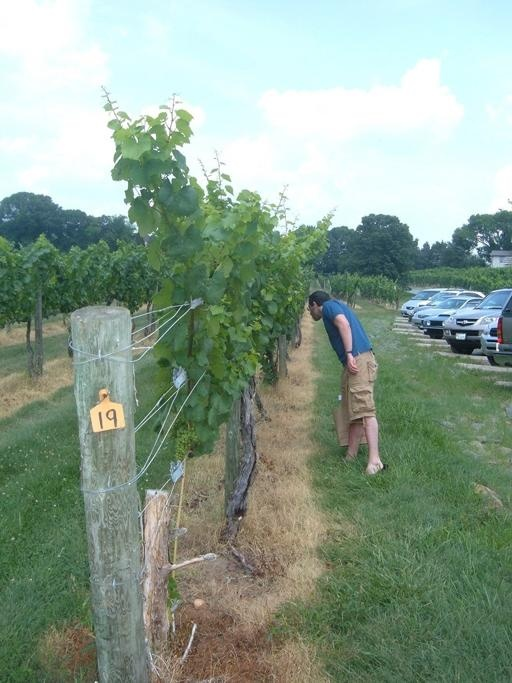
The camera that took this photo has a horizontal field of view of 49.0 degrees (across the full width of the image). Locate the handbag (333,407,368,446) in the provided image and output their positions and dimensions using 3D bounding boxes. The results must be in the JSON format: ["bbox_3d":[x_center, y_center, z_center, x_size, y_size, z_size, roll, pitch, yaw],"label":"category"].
[{"bbox_3d":[0.926,0.817,5.430,0.170,0.477,0.363,3,10,24],"label":"handbag"}]

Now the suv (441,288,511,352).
[{"bbox_3d":[5.083,-0.437,13.206,2.255,1.086,1.091,-6,2,-37],"label":"suv"}]

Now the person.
[{"bbox_3d":[0.912,0.342,5.302,0.488,1.663,0.982,-8,8,-8],"label":"person"}]

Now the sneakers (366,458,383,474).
[{"bbox_3d":[1.058,1.129,5.005,0.159,0.087,0.240,-6,8,11],"label":"sneakers"}]
